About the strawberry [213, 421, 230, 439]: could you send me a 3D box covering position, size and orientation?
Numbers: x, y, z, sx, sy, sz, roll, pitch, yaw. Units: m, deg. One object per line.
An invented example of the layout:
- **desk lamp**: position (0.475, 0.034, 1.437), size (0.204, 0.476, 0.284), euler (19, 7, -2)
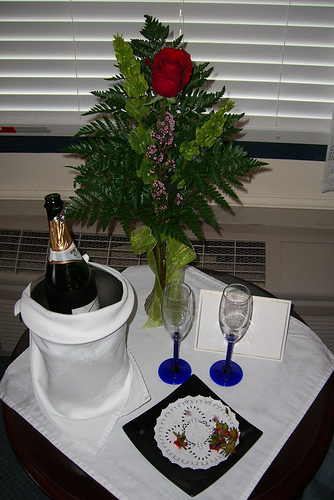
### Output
- **strawberry**: position (0.089, 0.276, 0.548), size (0.016, 0.007, 0.015), euler (-15, 22, -33)

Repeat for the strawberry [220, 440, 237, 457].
- **strawberry**: position (0.094, 0.296, 0.535), size (0.024, 0.008, 0.019), euler (-1, 17, -15)

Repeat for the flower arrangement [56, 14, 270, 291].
- **flower arrangement**: position (-0.012, -0.168, 0.678), size (0.346, 0.533, 0.258), euler (13, 19, 29)

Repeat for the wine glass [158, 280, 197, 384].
- **wine glass**: position (0.018, 0.163, 0.690), size (0.078, 0.197, 0.082), euler (4, 37, 8)

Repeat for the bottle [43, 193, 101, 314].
- **bottle**: position (-0.144, 0.011, 0.542), size (0.084, 0.198, 0.078), euler (3, 17, -1)

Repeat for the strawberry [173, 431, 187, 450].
- **strawberry**: position (0.021, 0.291, 0.544), size (0.015, 0.006, 0.015), euler (18, 28, -41)
